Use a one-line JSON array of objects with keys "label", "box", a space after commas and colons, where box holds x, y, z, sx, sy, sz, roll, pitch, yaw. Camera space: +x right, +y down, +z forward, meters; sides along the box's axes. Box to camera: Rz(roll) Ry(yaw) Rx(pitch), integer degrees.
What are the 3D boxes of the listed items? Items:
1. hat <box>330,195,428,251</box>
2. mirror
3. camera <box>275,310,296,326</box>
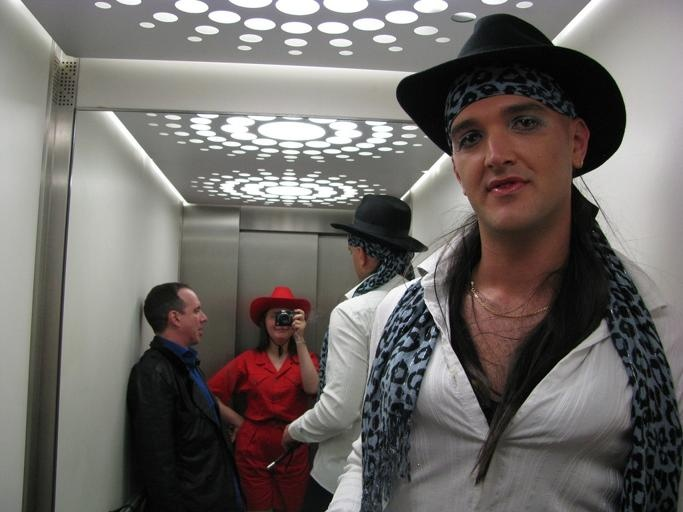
[{"label": "hat", "box": [0.188, -0.146, 2.297, 0.292, 0.122, 0.255, 25, 11, 27]}, {"label": "mirror", "box": [-0.394, 0.212, 2.036, 1.504, 1.975, 0.085, 2, -9, -15]}, {"label": "camera", "box": [-0.256, 0.273, 2.338, 0.064, 0.070, 0.069, 1, -15, -4]}]
